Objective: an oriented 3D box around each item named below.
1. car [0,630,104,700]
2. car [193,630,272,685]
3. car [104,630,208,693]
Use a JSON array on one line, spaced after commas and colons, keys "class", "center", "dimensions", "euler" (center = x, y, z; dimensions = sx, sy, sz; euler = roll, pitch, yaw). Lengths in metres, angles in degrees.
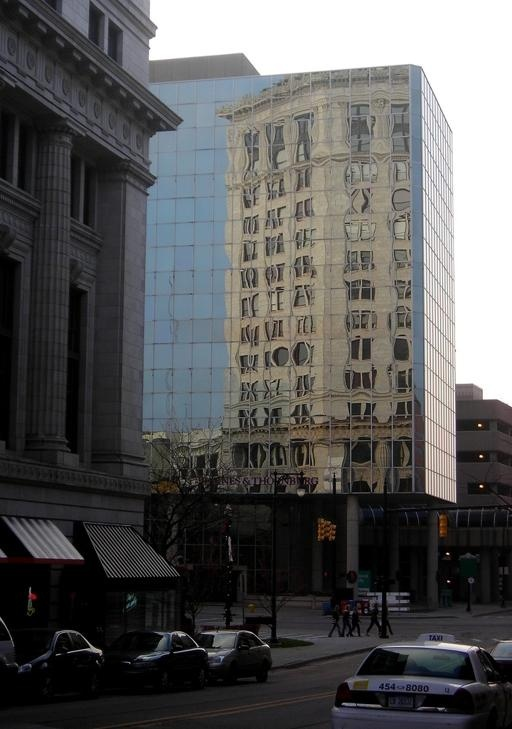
[{"class": "car", "center": [-4.518, 6.504, 31.199], "dimensions": [0.830, 1.486, 3.145], "euler": [-6, -13, 25]}, {"class": "car", "center": [-0.623, 7.492, 36.987], "dimensions": [1.071, 0.815, 1.894], "euler": [-6, -25, 20]}, {"class": "car", "center": [-2.464, 6.989, 34.025], "dimensions": [1.357, 1.349, 2.570], "euler": [-9, -14, 36]}]
